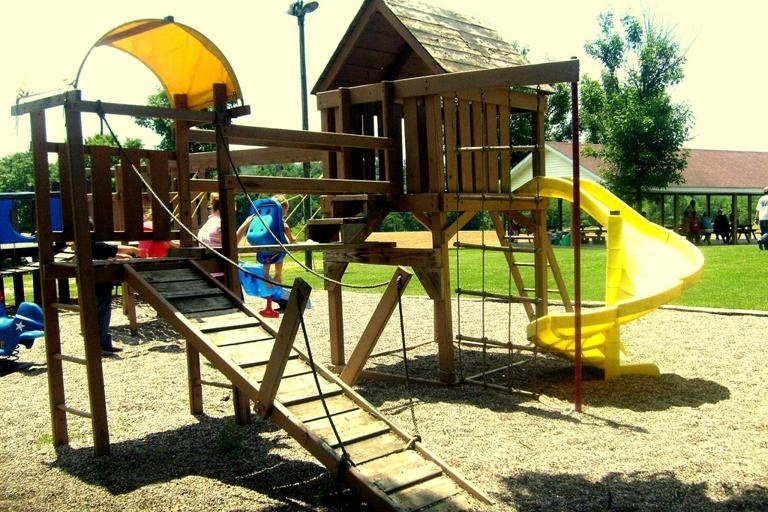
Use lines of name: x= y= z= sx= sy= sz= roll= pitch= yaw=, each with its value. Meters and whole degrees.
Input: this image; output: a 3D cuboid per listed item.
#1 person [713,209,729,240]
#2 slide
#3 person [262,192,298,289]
person: x=14.847 y=-1.217 z=32.392 sx=0.655 sy=1.261 sz=1.335 roll=4 pitch=14 yaw=24
slide: x=2.964 y=0.313 z=10.692 sx=2.288 sy=2.674 sz=2.987 roll=-11 pitch=15 yaw=-30
person: x=-2.058 y=-0.284 z=13.460 sx=0.869 sy=1.966 sz=0.495 roll=8 pitch=37 yaw=9
